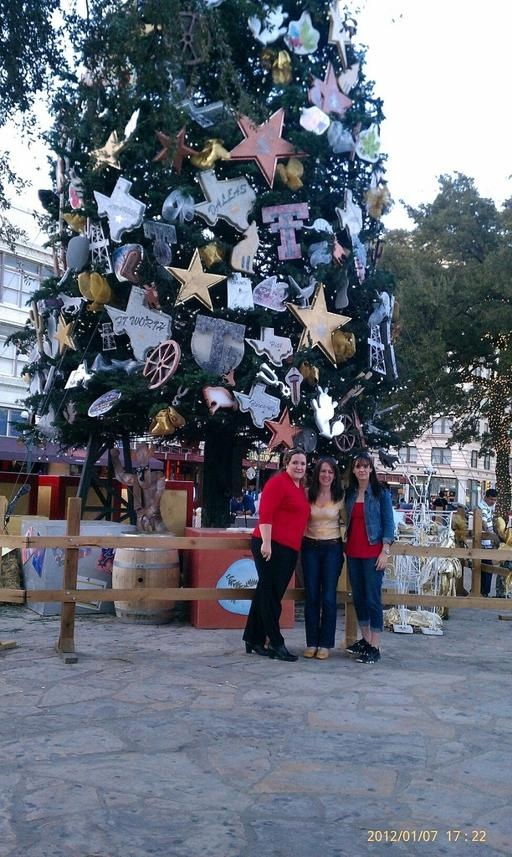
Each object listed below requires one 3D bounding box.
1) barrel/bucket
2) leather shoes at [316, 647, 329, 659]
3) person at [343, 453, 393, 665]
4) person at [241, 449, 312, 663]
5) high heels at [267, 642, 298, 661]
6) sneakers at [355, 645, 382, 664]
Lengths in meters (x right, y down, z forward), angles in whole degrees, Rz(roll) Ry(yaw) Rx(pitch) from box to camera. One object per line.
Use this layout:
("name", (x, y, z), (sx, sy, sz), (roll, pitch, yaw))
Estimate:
("barrel/bucket", (-1.281, 1.870, 8.121), (0.867, 0.821, 0.849), (0, -6, 0))
("leather shoes", (0.626, 2.159, 6.558), (0.097, 0.097, 0.187), (-1, -9, 24))
("person", (1.090, 1.238, 6.539), (0.311, 1.949, 0.470), (9, -10, -37))
("person", (0.222, 1.187, 6.471), (0.532, 1.958, 0.683), (3, -8, -1))
("high heels", (0.231, 2.122, 6.465), (0.312, 0.137, 0.118), (-4, -11, 22))
("sneakers", (1.059, 2.141, 6.487), (0.227, 0.153, 0.243), (2, -8, 6))
